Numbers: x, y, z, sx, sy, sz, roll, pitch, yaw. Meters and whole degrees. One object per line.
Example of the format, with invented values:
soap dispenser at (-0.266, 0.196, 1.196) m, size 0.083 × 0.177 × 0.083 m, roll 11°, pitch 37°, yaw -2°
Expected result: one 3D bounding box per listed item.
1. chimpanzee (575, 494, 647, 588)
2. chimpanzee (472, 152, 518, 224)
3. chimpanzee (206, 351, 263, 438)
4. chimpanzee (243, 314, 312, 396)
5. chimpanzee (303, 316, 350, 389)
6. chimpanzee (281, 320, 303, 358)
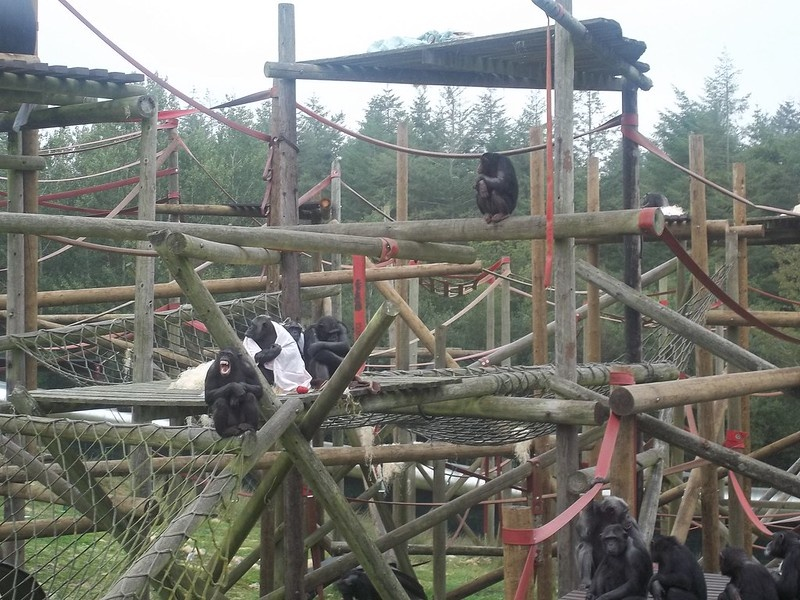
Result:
chimpanzee at (2.200, 2.563, 16.280) m, size 0.627 × 0.985 × 0.491 m, roll 1°, pitch -10°, yaw 23°
chimpanzee at (1.137, -1.339, 18.450) m, size 0.502 × 0.822 × 0.525 m, roll 0°, pitch 5°, yaw 2°
chimpanzee at (-1.721, 1.016, 16.276) m, size 0.600 × 0.946 × 0.534 m, roll -11°, pitch -16°, yaw -9°
chimpanzee at (-1.410, 0.628, 18.026) m, size 0.683 × 0.947 × 0.416 m, roll -22°, pitch -12°, yaw -38°
chimpanzee at (-0.842, 0.599, 18.239) m, size 0.501 × 0.826 × 0.653 m, roll -5°, pitch 11°, yaw -15°
chimpanzee at (-1.243, 0.455, 18.470) m, size 0.249 × 0.363 × 0.188 m, roll 3°, pitch -4°, yaw 5°
